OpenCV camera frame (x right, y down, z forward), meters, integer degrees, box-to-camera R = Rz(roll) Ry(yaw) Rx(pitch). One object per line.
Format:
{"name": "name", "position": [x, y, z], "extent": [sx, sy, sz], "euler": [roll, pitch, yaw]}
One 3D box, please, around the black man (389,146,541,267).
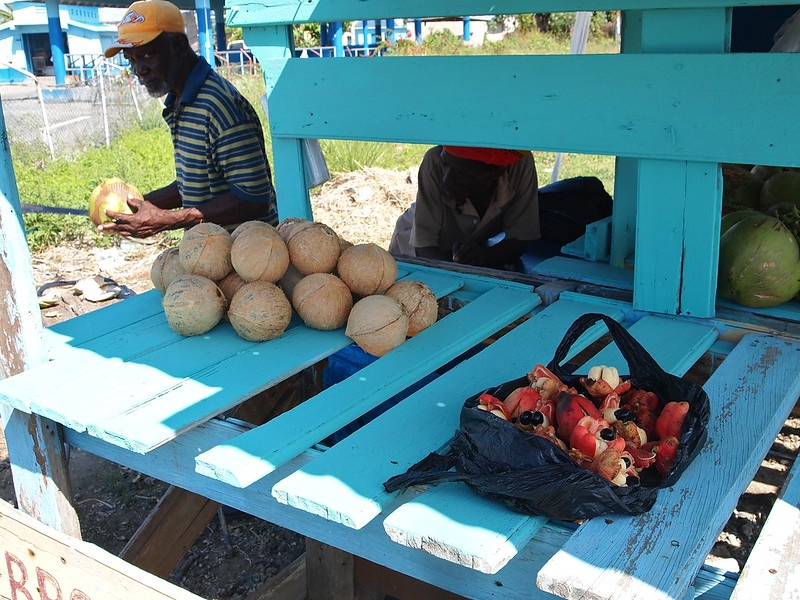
{"name": "black man", "position": [0.596, -0.734, 4.656], "extent": [0.753, 0.748, 1.426], "euler": [0, 19, 8]}

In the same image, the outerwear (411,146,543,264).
{"name": "outerwear", "position": [0.638, -0.932, 4.634], "extent": [0.877, 1.049, 1.084], "euler": [8, 69, 2]}

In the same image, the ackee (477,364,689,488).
{"name": "ackee", "position": [0.550, 0.293, 1.723], "extent": [0.459, 0.179, 0.350], "euler": [8, 11, 22]}

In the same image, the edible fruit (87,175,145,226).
{"name": "edible fruit", "position": [-1.502, -0.488, 3.187], "extent": [0.269, 0.159, 0.256], "euler": [-28, 50, -31]}

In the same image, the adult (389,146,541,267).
{"name": "adult", "position": [0.583, -0.752, 4.659], "extent": [0.753, 0.748, 1.426], "euler": [0, 19, 8]}

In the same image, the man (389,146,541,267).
{"name": "man", "position": [0.621, -0.850, 4.852], "extent": [0.753, 0.748, 1.426], "euler": [0, 19, 8]}
